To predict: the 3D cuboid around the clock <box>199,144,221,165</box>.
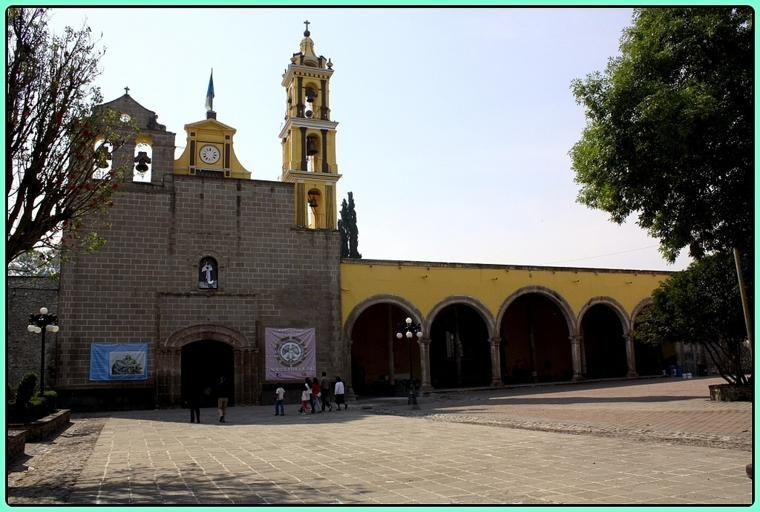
[{"bbox_3d":[-8.169,-4.878,30.610,0.936,0.952,0.228,4,-5,-34],"label":"clock"}]
